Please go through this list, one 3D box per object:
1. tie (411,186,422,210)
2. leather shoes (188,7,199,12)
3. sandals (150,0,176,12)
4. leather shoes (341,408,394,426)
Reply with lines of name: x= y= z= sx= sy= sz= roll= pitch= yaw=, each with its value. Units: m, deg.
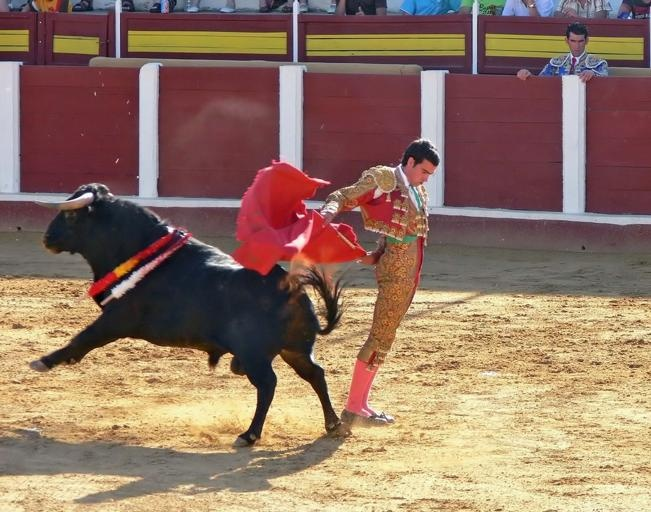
tie: x=0.443 y=-0.287 z=5.899 sx=0.045 sy=0.109 sz=0.067 roll=8 pitch=8 yaw=29
leather shoes: x=-1.276 y=-2.384 z=11.742 sx=0.070 sy=0.042 sz=0.117 roll=0 pitch=0 yaw=-4
sandals: x=-1.553 y=-2.421 z=11.717 sx=0.251 sy=0.150 sz=0.386 roll=2 pitch=6 yaw=-7
leather shoes: x=0.212 y=0.803 z=6.119 sx=0.275 sy=0.092 sz=0.089 roll=0 pitch=-1 yaw=-2
